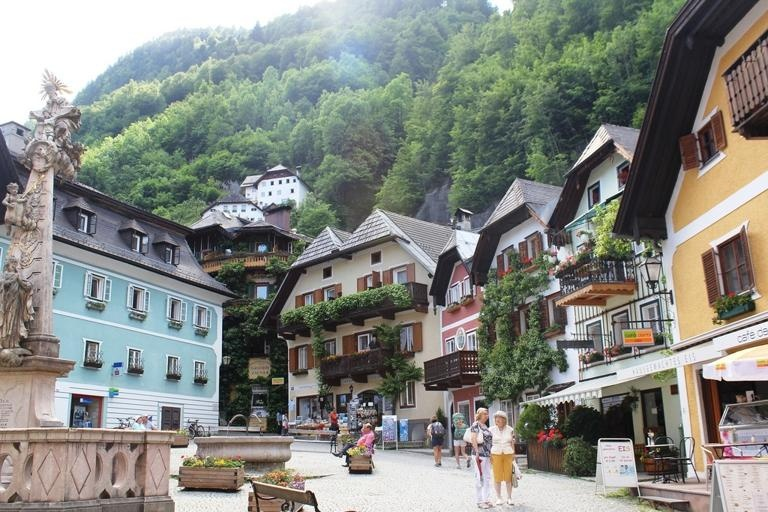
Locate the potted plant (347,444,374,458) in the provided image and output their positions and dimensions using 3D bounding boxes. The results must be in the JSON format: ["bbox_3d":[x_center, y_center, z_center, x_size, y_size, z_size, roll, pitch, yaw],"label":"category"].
[{"bbox_3d":[-0.839,6.676,26.140,0.547,0.233,0.546,9,-20,-22],"label":"potted plant"}]

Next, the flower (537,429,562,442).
[{"bbox_3d":[5.898,6.342,26.916,0.606,0.378,0.487,-6,-7,41],"label":"flower"}]

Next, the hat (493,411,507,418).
[{"bbox_3d":[2.975,3.970,19.131,0.365,0.128,0.386,8,-11,-28],"label":"hat"}]

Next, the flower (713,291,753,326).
[{"bbox_3d":[9.688,1.324,21.159,0.547,0.608,0.959,-8,-15,-47],"label":"flower"}]

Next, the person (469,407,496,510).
[{"bbox_3d":[2.423,5.037,19.210,0.645,2.487,0.753,-3,-22,6],"label":"person"}]
